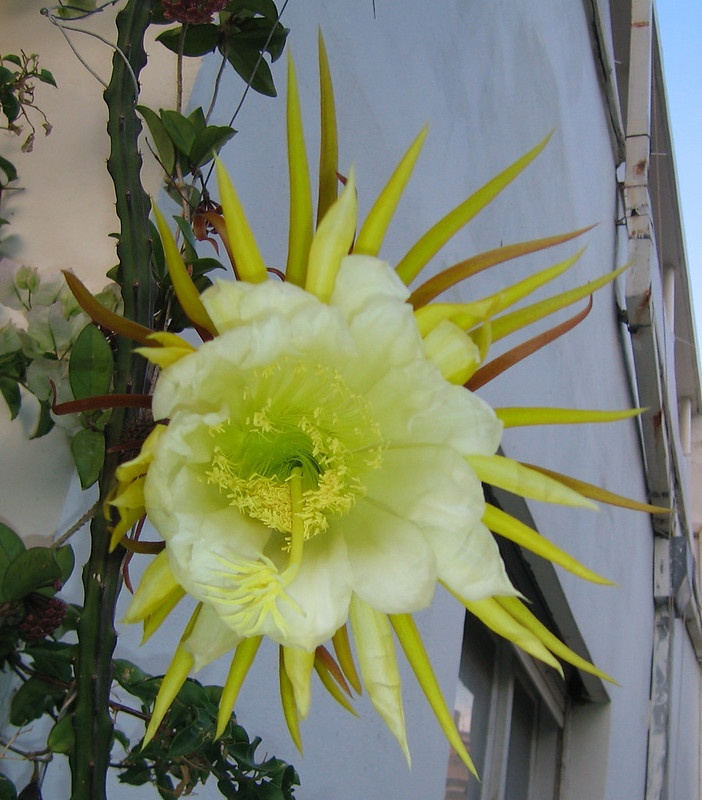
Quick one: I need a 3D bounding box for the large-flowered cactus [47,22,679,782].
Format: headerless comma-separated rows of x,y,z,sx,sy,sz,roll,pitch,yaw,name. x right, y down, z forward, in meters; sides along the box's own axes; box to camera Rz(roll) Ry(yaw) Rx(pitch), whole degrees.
0.006,-0.060,0.565,0.386,0.591,0.265,23,-35,-20,large-flowered cactus
